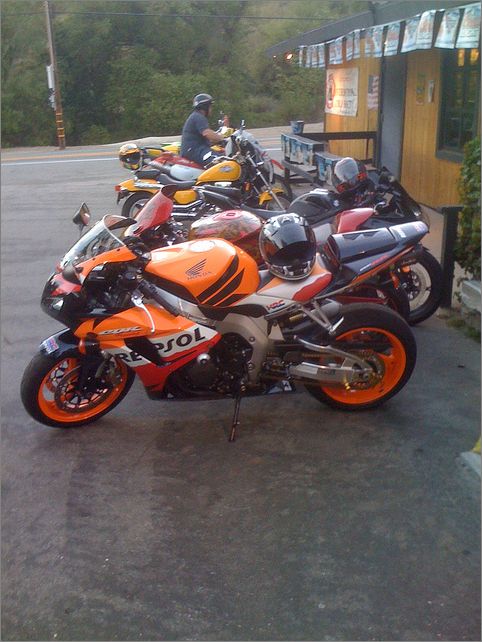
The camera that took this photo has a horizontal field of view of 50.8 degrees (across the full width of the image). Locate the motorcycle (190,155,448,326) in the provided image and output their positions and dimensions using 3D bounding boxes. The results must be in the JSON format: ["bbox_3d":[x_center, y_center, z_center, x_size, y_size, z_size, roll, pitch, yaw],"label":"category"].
[{"bbox_3d":[0.931,-0.846,4.729,2.530,1.414,1.182,6,19,1],"label":"motorcycle"}]

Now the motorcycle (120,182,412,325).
[{"bbox_3d":[0.294,-0.319,3.672,2.058,1.093,0.979,8,30,-2],"label":"motorcycle"}]

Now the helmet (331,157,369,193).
[{"bbox_3d":[0.945,-1.242,4.362,0.261,0.279,0.324,-6,41,20],"label":"helmet"}]

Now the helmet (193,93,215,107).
[{"bbox_3d":[-0.612,-3.693,8.409,0.369,0.180,0.246,0,39,-1],"label":"helmet"}]

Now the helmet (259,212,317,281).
[{"bbox_3d":[0.277,-0.470,3.009,0.323,0.340,0.400,-13,28,-4],"label":"helmet"}]

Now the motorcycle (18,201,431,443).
[{"bbox_3d":[0.298,-0.187,3.420,2.999,1.528,1.044,-1,26,-5],"label":"motorcycle"}]
